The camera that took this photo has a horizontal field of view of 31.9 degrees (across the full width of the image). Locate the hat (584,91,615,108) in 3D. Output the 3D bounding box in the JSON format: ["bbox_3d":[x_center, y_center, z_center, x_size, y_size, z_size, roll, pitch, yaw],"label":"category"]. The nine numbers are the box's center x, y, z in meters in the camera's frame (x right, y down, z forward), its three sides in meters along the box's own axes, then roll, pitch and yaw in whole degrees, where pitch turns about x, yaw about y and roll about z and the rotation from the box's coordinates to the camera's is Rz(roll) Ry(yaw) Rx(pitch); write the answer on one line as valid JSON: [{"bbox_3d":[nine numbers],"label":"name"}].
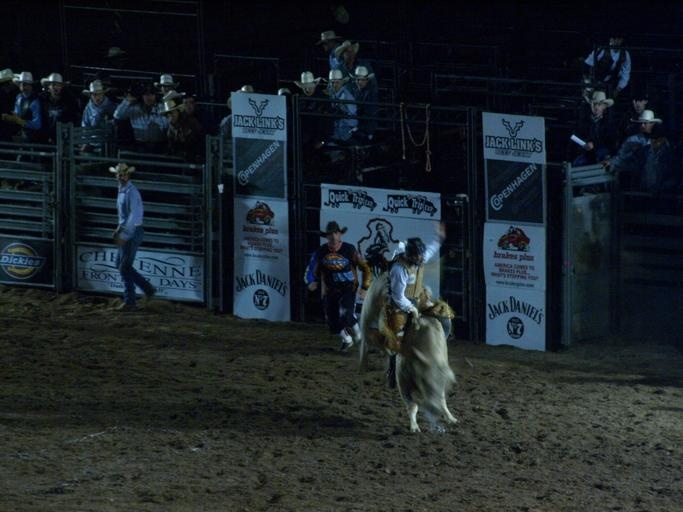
[{"bbox_3d":[5.249,-3.194,24.386,0.567,0.278,0.421,3,2,10],"label":"hat"}]

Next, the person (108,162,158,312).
[{"bbox_3d":[-4.173,-0.368,23.770,0.614,2.855,0.859,4,2,32],"label":"person"}]

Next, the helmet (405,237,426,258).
[{"bbox_3d":[1.157,-0.136,19.258,0.252,0.298,0.312,-9,9,-43],"label":"helmet"}]

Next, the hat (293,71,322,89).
[{"bbox_3d":[-0.700,-3.631,24.977,0.546,0.252,0.651,-3,7,1],"label":"hat"}]

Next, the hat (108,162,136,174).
[{"bbox_3d":[-4.301,-1.688,23.572,0.373,0.151,0.392,-1,0,-6],"label":"hat"}]

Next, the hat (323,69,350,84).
[{"bbox_3d":[-0.072,-3.743,25.000,0.384,0.161,0.429,-1,0,3],"label":"hat"}]

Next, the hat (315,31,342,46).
[{"bbox_3d":[-0.241,-4.874,27.148,0.629,0.314,0.750,-5,22,8],"label":"hat"}]

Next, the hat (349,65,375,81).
[{"bbox_3d":[0.493,-3.846,25.239,0.441,0.334,0.590,2,2,-1],"label":"hat"}]

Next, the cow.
[{"bbox_3d":[1.106,1.581,19.583,1.620,2.527,0.575,4,3,44],"label":"cow"}]

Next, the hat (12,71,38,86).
[{"bbox_3d":[-6.876,-3.835,26.015,0.562,0.228,0.595,1,6,-5],"label":"hat"}]

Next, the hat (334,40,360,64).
[{"bbox_3d":[0.148,-4.433,25.779,0.513,0.154,0.528,-32,-14,19],"label":"hat"}]

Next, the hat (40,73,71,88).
[{"bbox_3d":[-6.363,-3.803,26.191,0.595,0.217,0.537,0,2,38],"label":"hat"}]
